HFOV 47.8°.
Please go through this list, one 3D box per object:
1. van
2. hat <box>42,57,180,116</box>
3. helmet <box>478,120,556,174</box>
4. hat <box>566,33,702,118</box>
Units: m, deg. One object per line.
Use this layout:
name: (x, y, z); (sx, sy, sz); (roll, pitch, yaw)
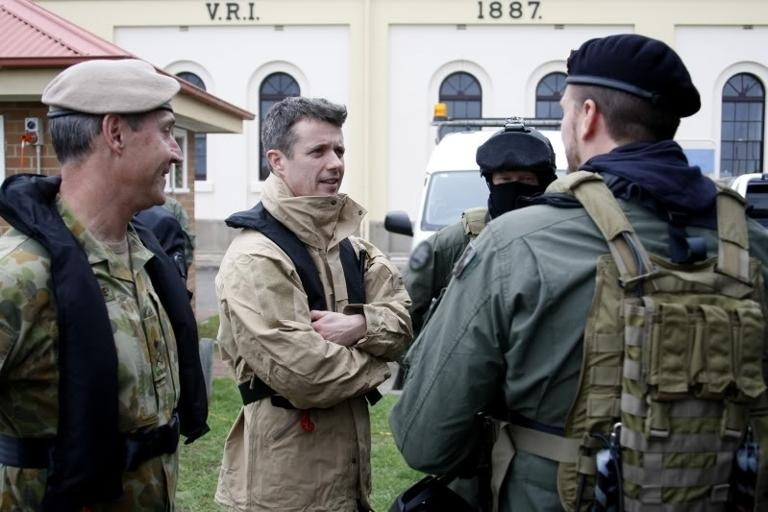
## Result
van: (0.668, -0.675, 8.598); (1.026, 1.004, 1.763); (0, 2, 10)
hat: (-1.157, -0.713, 3.676); (0.361, 0.143, 0.340); (-1, 11, -3)
helmet: (0.778, -0.662, 5.076); (0.271, 0.317, 0.346); (1, 15, 9)
hat: (1.118, -0.814, 3.865); (0.518, 0.329, 0.693); (-1, 15, -44)
